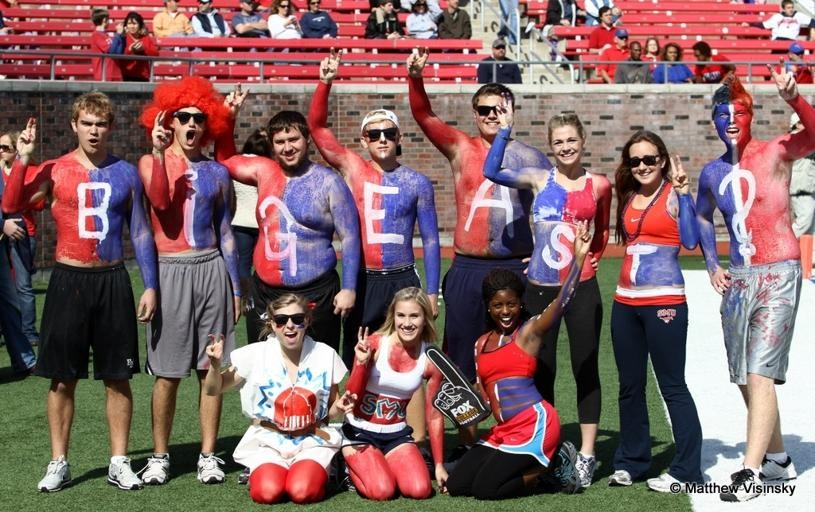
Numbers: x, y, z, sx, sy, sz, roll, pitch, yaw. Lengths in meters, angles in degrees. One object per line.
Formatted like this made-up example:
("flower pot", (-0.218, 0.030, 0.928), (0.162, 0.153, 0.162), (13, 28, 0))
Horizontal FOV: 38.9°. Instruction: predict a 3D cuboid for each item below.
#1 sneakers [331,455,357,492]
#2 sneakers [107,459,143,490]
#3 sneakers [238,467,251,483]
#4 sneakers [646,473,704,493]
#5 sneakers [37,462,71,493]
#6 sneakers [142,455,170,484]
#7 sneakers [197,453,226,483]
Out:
("sneakers", (-0.651, 2.150, 11.510), (0.258, 0.358, 0.101), (5, 5, 37))
("sneakers", (-2.856, 2.137, 11.486), (0.430, 0.300, 0.157), (4, 5, 25))
("sneakers", (-1.655, 2.167, 11.606), (0.104, 0.093, 0.179), (12, 30, -10))
("sneakers", (2.655, 2.246, 11.387), (0.516, 0.253, 0.209), (4, -11, -1))
("sneakers", (-3.521, 2.152, 11.428), (0.328, 0.299, 0.220), (0, 5, -18))
("sneakers", (-2.557, 2.126, 11.592), (0.293, 0.284, 0.225), (1, 5, -14))
("sneakers", (-2.003, 2.126, 11.640), (0.282, 0.269, 0.248), (1, 5, -9))
